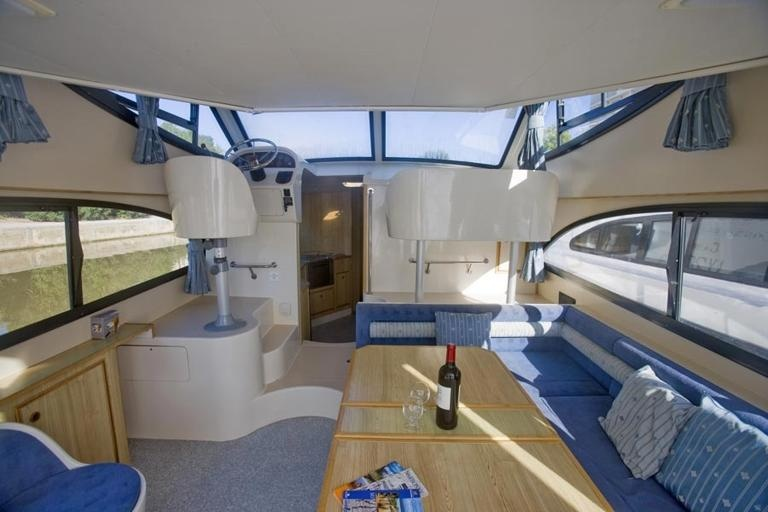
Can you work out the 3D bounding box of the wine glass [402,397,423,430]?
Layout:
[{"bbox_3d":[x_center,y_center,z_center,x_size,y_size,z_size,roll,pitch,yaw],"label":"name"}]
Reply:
[{"bbox_3d":[0.168,0.934,2.819,0.147,0.231,0.151,-1,9,-4],"label":"wine glass"}]

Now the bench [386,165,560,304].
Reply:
[{"bbox_3d":[0.676,-0.267,3.869,1.047,0.874,0.716,1,17,1],"label":"bench"}]

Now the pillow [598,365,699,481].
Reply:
[{"bbox_3d":[1.775,1.213,3.512,0.482,0.881,0.736,25,-18,24],"label":"pillow"}]

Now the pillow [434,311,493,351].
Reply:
[{"bbox_3d":[0.695,0.667,4.248,0.487,0.341,0.172,2,-6,1],"label":"pillow"}]

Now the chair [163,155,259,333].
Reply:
[{"bbox_3d":[-1.401,-0.095,3.979,0.647,1.412,0.585,-2,6,8],"label":"chair"}]
